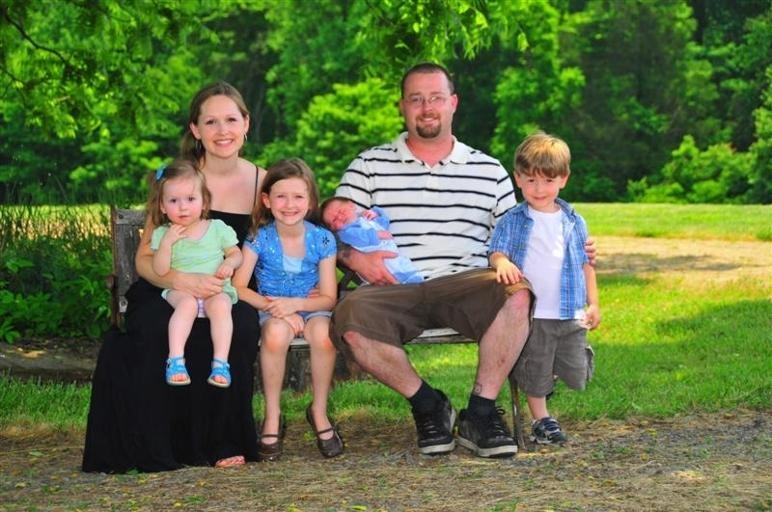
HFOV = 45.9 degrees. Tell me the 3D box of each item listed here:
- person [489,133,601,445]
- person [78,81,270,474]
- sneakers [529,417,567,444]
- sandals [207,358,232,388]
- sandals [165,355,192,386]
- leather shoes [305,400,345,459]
[{"bbox_3d":[1.244,0.258,7.180,0.811,2.437,0.254,-1,3,5],"label":"person"},{"bbox_3d":[-1.697,0.114,7.183,1.356,2.996,0.830,-2,3,-5],"label":"person"},{"bbox_3d":[1.260,1.390,7.230,0.139,0.139,0.332,3,-9,-38],"label":"sneakers"},{"bbox_3d":[-1.270,0.879,6.852,0.196,0.170,0.455,4,-7,-10],"label":"sandals"},{"bbox_3d":[-1.571,0.865,6.828,0.187,0.224,0.102,-2,3,-14],"label":"sandals"},{"bbox_3d":[-0.517,1.324,7.102,0.217,0.481,0.134,-26,4,-13],"label":"leather shoes"}]
